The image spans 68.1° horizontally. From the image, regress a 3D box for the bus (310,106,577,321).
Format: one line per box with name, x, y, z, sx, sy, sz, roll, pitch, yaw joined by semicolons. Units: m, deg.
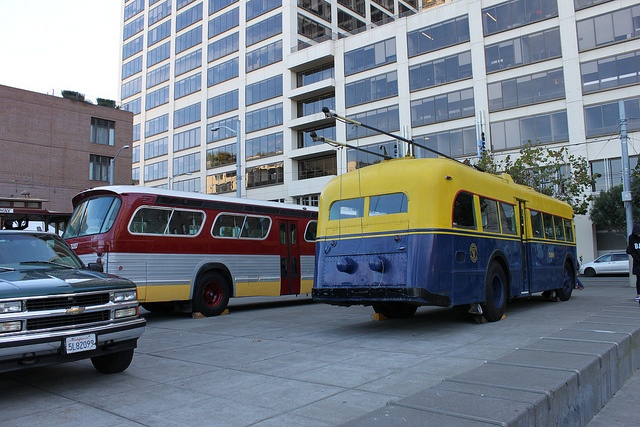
bus;5.381;0.934;16.288;4.012;4.919;12.987;-8;-9;41
